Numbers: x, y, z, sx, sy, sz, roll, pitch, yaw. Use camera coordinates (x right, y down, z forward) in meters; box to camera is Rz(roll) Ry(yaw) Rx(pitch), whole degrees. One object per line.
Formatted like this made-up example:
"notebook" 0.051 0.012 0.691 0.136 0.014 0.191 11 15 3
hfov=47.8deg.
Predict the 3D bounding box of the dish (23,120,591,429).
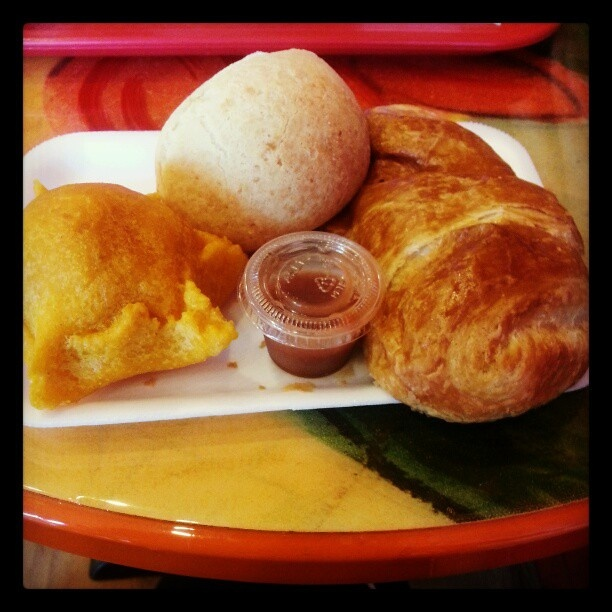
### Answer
"dish" -0.058 -0.005 1.236 0.974 0.157 0.733 -3 65 -7
